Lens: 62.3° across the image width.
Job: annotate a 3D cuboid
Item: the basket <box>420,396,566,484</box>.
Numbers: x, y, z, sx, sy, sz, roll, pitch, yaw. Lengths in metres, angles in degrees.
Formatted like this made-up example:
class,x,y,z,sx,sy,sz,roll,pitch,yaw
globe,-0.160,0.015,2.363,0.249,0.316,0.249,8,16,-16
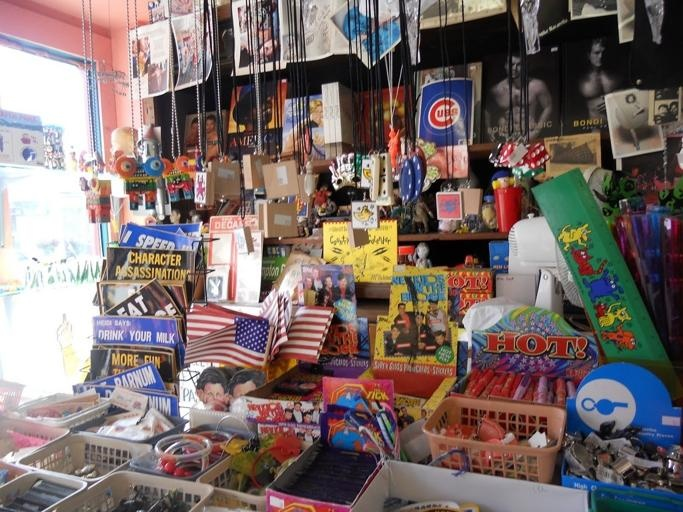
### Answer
class,x,y,z,sx,sy,sz,roll,pitch,yaw
basket,0.421,0.484,1.528,0.280,0.122,0.209,3,17,22

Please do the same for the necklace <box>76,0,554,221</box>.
class,x,y,z,sx,sy,sz,roll,pitch,yaw
necklace,-0.065,-0.781,2.966,1.354,0.964,0.456,-1,0,10

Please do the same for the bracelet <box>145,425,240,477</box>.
class,x,y,z,sx,sy,sz,roll,pitch,yaw
bracelet,-0.429,0.558,1.621,0.210,0.070,0.202,0,5,20
